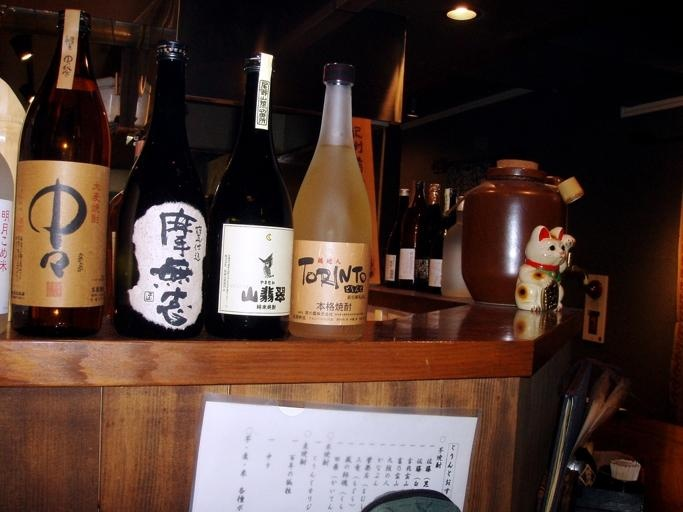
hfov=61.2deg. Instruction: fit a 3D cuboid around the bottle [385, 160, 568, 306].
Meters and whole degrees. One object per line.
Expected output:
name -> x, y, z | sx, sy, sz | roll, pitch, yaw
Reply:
bottle -> 0.272, -0.056, 1.468 | 0.319, 0.474, 0.325 | 6, -5, 1
